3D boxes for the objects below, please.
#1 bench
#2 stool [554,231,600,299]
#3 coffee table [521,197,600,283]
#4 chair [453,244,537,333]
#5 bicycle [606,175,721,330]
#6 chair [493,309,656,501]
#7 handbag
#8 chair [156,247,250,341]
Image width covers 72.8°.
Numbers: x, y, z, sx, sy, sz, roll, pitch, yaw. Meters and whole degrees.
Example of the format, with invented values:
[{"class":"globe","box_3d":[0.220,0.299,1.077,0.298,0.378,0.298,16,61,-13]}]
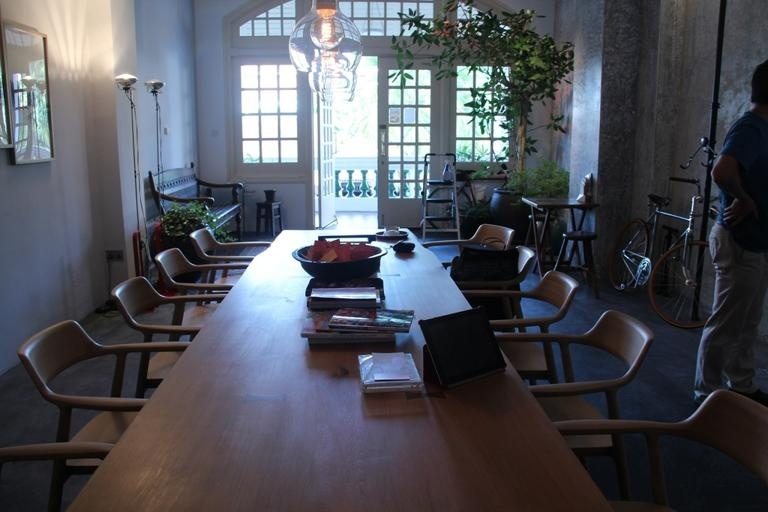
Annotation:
[{"class":"bench","box_3d":[-2.582,-0.639,7.415,0.781,1.232,2.052,-3,13,-4]},{"class":"stool","box_3d":[2.120,0.063,5.817,0.553,0.662,0.563,-8,10,-38]},{"class":"coffee table","box_3d":[2.150,-0.310,6.106,0.850,0.644,0.848,7,22,4]},{"class":"chair","box_3d":[0.768,0.199,3.817,0.557,0.785,0.566,2,8,-2]},{"class":"bicycle","box_3d":[2.816,0.061,5.266,0.677,0.949,1.392,25,3,-1]},{"class":"chair","box_3d":[0.846,0.830,2.466,0.693,0.998,0.780,-3,10,7]},{"class":"handbag","box_3d":[0.684,0.068,3.666,0.325,0.438,0.361,0,26,-2]},{"class":"chair","box_3d":[-1.195,0.281,3.572,0.556,0.587,0.530,-9,19,-26]}]
